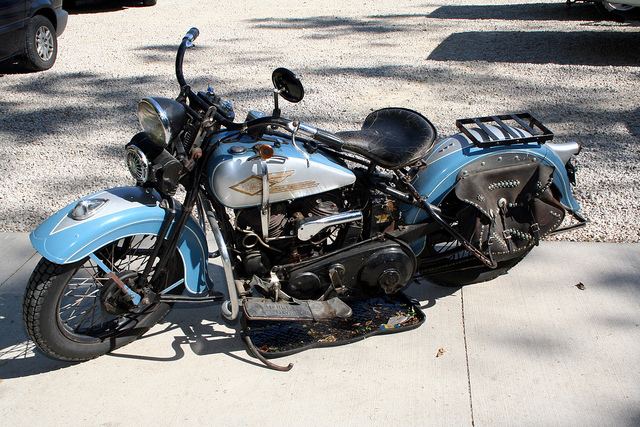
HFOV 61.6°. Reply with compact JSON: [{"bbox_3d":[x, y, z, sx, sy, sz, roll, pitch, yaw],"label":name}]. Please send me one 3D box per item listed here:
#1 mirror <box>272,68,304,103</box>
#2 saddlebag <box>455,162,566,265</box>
[{"bbox_3d":[-0.241,-0.906,3.821,0.165,0.279,0.238,-12,56,-12],"label":"mirror"},{"bbox_3d":[1.492,-0.032,4.310,0.883,0.566,0.291,-11,18,-12],"label":"saddlebag"}]
